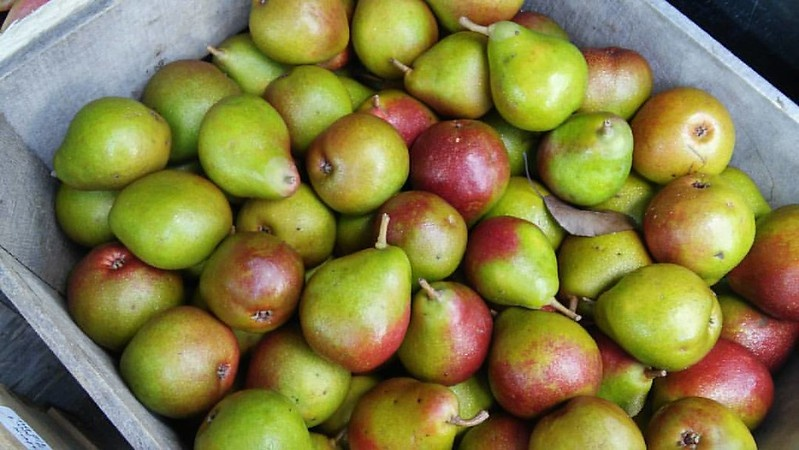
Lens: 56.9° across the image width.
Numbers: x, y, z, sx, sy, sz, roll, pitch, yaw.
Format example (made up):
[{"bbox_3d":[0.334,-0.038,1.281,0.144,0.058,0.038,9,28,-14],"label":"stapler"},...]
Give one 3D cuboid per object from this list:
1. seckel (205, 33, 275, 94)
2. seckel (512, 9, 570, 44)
[{"bbox_3d":[-0.630,-0.658,3.115,0.306,0.173,0.166,40,94,-7],"label":"seckel"},{"bbox_3d":[0.571,-0.836,3.134,0.229,0.132,0.130,11,99,31],"label":"seckel"}]
